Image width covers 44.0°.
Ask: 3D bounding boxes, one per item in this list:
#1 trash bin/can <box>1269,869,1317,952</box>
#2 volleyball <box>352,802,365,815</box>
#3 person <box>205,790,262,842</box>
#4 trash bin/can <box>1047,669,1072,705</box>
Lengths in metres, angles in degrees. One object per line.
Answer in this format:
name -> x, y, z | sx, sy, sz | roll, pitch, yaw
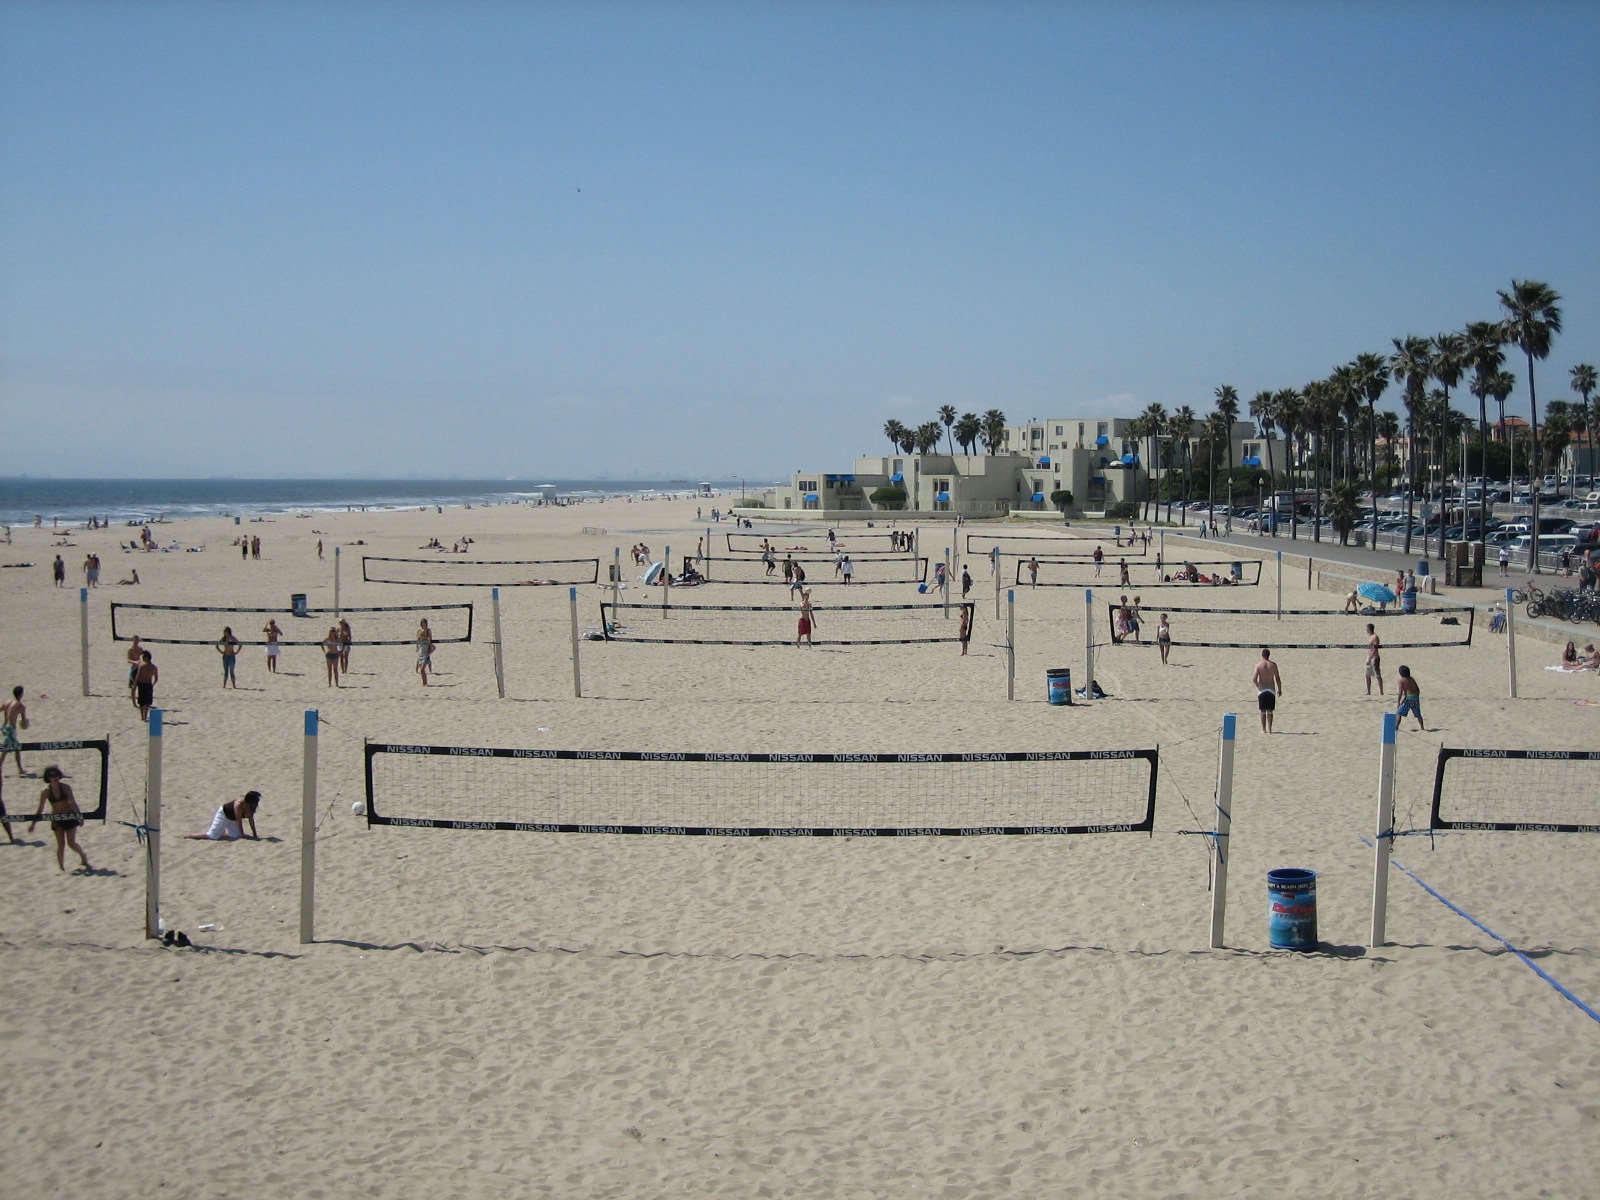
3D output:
trash bin/can -> 5.461, 3.400, 22.053 | 0.501, 0.854, 0.517 | 1, 16, 24
volleyball -> -5.974, 2.828, 26.697 | 0.113, 0.161, 0.160 | -1, -5, 4
person -> -7.401, 2.850, 25.715 | 0.854, 0.542, 0.401 | -5, -5, 40
trash bin/can -> 4.579, 1.571, 34.910 | 0.416, 0.522, 0.516 | 1, 8, 6
